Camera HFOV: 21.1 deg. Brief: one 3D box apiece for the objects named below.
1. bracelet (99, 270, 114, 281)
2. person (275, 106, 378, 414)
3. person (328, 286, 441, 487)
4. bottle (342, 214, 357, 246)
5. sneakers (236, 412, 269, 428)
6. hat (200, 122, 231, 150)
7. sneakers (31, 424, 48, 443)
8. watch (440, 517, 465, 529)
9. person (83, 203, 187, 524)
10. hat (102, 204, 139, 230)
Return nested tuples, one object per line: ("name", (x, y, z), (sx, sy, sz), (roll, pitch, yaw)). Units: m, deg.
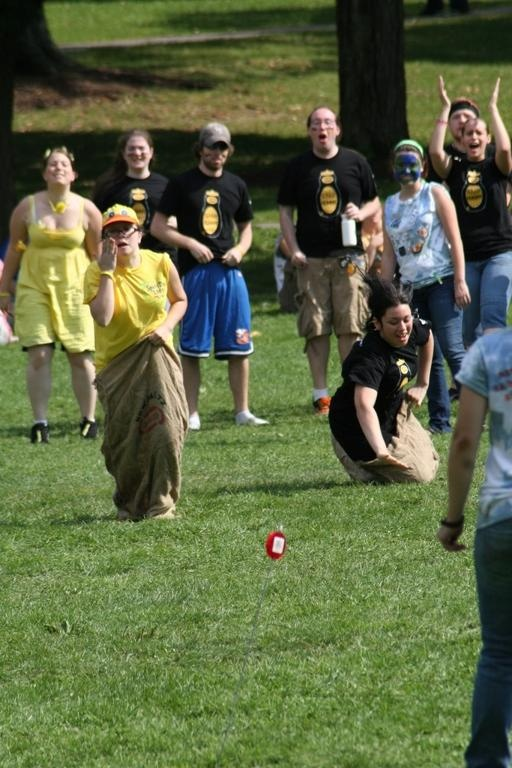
("bracelet", (-0.719, -0.515, 6.526), (0.035, 0.046, 0.021), (8, 54, 6))
("person", (0.496, -0.843, 9.364), (0.633, 2.058, 0.555), (-2, 9, 8))
("person", (0.605, -0.003, 6.920), (0.529, 1.146, 0.766), (-2, 13, 10))
("bottle", (0.607, -1.013, 9.125), (0.092, 0.218, 0.149), (-3, 13, 4))
("sneakers", (-0.028, 0.253, 9.562), (0.264, 0.120, 0.091), (-5, -3, 34))
("hat", (-0.273, -1.596, 8.874), (0.200, 0.168, 0.289), (-5, 13, -2))
("sneakers", (-1.459, 0.340, 9.250), (0.110, 0.141, 0.075), (2, -5, -7))
("watch", (0.619, 0.438, 4.317), (0.059, 0.040, 0.056), (-3, -2, -1))
("person", (-0.571, -0.103, 6.781), (0.462, 1.565, 0.411), (-5, 13, -3))
("hat", (-0.651, -0.801, 6.581), (0.146, 0.112, 0.210), (8, 18, 41))
